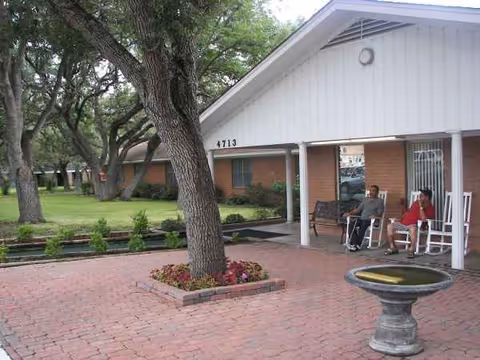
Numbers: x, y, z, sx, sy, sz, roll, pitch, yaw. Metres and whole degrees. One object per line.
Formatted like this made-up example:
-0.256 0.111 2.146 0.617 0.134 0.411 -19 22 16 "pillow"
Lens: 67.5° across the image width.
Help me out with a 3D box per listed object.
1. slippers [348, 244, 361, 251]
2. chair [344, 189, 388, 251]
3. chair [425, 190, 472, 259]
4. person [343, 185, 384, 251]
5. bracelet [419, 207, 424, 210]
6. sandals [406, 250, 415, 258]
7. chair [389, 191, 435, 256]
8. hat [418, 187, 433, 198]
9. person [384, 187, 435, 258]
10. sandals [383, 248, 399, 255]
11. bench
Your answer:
3.354 1.972 10.501 0.390 0.125 0.149 -2 1 -3 "slippers"
3.670 1.131 10.714 1.181 1.867 0.990 -1 5 -34 "chair"
5.510 1.165 9.523 1.208 1.584 0.932 -6 2 -27 "chair"
3.694 1.111 10.756 1.186 1.257 0.842 -2 1 -9 "person"
4.835 0.747 9.531 0.020 0.063 0.065 2 11 -21 "bracelet"
4.474 1.912 9.354 0.185 0.183 0.346 -1 1 26 "sandals"
4.690 1.116 9.819 0.994 1.789 1.277 3 0 44 "chair"
5.158 0.355 9.954 0.294 0.147 0.200 38 19 22 "hat"
4.585 1.149 9.669 1.160 1.738 0.949 -1 1 25 "person"
4.222 1.965 9.924 0.480 0.159 0.166 1 -3 -15 "sandals"
3.075 1.421 12.515 0.913 1.314 2.074 -1 -2 -27 "bench"
